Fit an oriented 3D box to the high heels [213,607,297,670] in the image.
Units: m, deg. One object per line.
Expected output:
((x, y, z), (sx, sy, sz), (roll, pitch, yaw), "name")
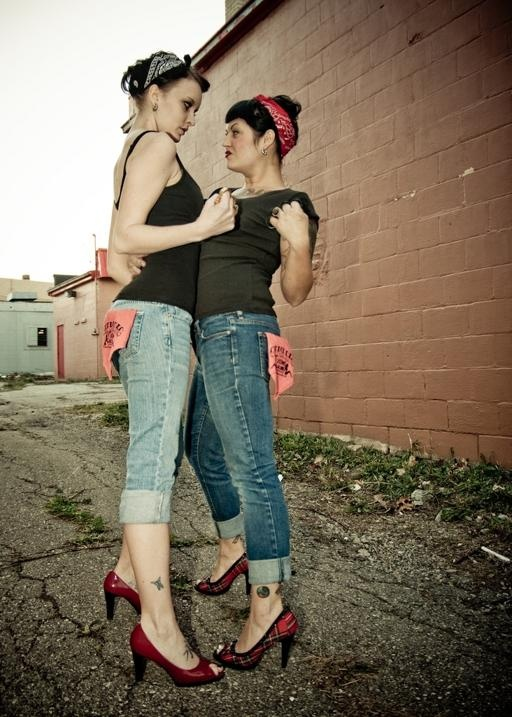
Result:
((-0.009, 0.913, 1.851), (0.279, 0.176, 0.112), (-3, -8, 7), "high heels")

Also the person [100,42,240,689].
((-0.290, -0.041, 1.905), (0.430, 2.078, 0.580), (0, 3, -15), "person")

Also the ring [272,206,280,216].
((0.070, -0.518, 2.002), (0.023, 0.030, 0.011), (-4, -20, 30), "ring")
